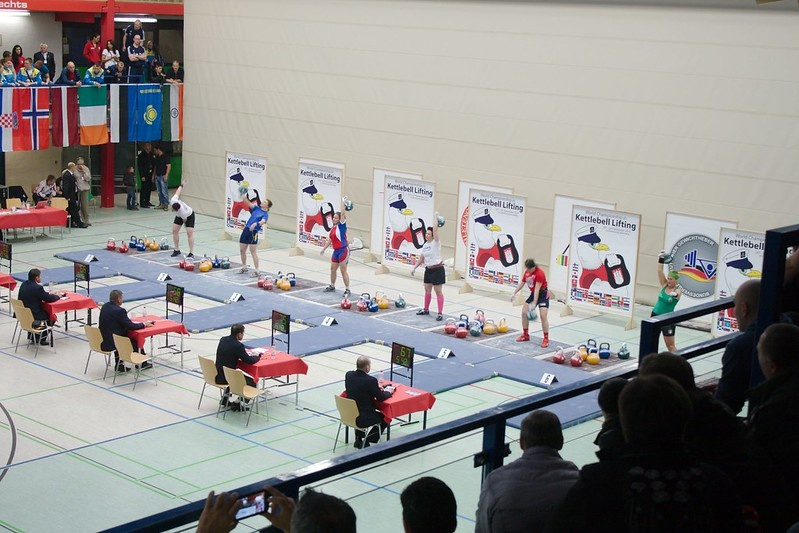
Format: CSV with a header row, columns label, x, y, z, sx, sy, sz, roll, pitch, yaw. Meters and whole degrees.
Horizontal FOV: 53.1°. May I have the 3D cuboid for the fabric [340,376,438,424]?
label,x,y,z,sx,sy,sz,roll,pitch,yaw
fabric,0.124,2.379,13.972,0.946,0.262,1.049,-10,19,-36

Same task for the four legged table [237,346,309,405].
label,x,y,z,sx,sy,sz,roll,pitch,yaw
four legged table,-2.488,2.182,15.428,1.332,0.901,1.013,0,8,-42

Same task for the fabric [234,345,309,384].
label,x,y,z,sx,sy,sz,roll,pitch,yaw
fabric,-2.437,1.885,15.344,0.950,0.228,1.103,14,16,43

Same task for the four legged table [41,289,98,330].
label,x,y,z,sx,sy,sz,roll,pitch,yaw
four legged table,-7.469,1.167,18.329,1.034,0.593,1.059,19,25,33

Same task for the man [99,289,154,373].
label,x,y,z,sx,sy,sz,roll,pitch,yaw
man,-5.689,1.305,16.687,1.125,1.791,0.875,-7,15,-43

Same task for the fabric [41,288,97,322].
label,x,y,z,sx,sy,sz,roll,pitch,yaw
fabric,-7.388,0.837,17.960,0.768,0.193,0.761,19,27,41

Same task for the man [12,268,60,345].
label,x,y,z,sx,sy,sz,roll,pitch,yaw
man,-8.023,0.842,17.897,0.730,1.663,0.800,13,14,18

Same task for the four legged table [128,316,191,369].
label,x,y,z,sx,sy,sz,roll,pitch,yaw
four legged table,-5.175,1.728,16.926,1.018,0.858,1.099,12,16,40

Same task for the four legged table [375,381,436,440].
label,x,y,z,sx,sy,sz,roll,pitch,yaw
four legged table,0.041,2.441,14.050,0.842,0.492,0.905,-11,21,-37

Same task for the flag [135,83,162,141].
label,x,y,z,sx,sy,sz,roll,pitch,yaw
flag,-9.332,-5.991,29.987,1.512,2.046,0.140,14,16,35

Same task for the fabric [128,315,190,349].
label,x,y,z,sx,sy,sz,roll,pitch,yaw
fabric,-5.085,1.308,16.734,0.798,0.189,0.801,-12,21,-40

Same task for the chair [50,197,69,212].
label,x,y,z,sx,sy,sz,roll,pitch,yaw
chair,-11.350,-2.129,26.877,0.421,0.590,0.460,-1,11,-25

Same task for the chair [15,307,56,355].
label,x,y,z,sx,sy,sz,roll,pitch,yaw
chair,-7.983,1.295,17.764,0.669,1.009,0.659,5,-8,-39

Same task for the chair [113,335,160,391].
label,x,y,z,sx,sy,sz,roll,pitch,yaw
chair,-5.380,1.904,16.365,0.728,1.158,0.797,14,14,42

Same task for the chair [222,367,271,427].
label,x,y,z,sx,sy,sz,roll,pitch,yaw
chair,-2.875,2.465,14.941,0.652,1.195,0.785,14,25,37
